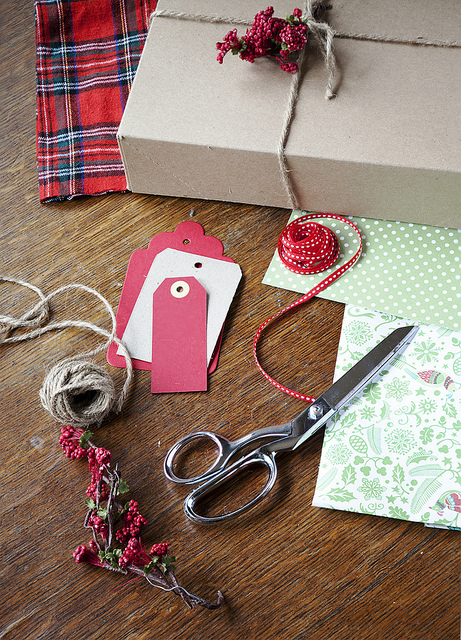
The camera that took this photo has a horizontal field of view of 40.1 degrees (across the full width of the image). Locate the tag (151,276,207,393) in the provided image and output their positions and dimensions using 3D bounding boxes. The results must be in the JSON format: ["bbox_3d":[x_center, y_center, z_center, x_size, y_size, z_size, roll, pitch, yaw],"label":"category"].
[{"bbox_3d":[-0.058,0.015,0.708,0.076,0.130,0.002,0,1,-41],"label":"tag"}]

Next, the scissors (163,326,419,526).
[{"bbox_3d":[0.090,0.118,0.672,0.307,0.023,0.112,-31,58,-5],"label":"scissors"}]
